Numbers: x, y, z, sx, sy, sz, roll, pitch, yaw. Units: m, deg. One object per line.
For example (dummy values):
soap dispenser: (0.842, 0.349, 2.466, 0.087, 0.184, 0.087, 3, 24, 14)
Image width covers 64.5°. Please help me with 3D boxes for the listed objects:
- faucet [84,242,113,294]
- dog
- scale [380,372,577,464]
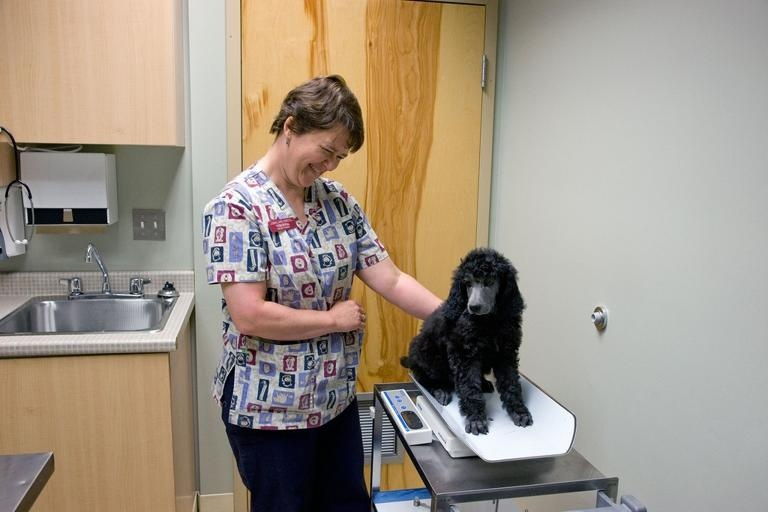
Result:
faucet: (-1.358, 0.057, 2.911, 0.102, 0.243, 0.122, -6, 9, -25)
dog: (0.260, 0.218, 2.166, 0.277, 0.544, 0.680, -5, 15, -21)
scale: (0.375, 0.514, 1.946, 0.415, 0.161, 0.267, -3, 8, -5)
